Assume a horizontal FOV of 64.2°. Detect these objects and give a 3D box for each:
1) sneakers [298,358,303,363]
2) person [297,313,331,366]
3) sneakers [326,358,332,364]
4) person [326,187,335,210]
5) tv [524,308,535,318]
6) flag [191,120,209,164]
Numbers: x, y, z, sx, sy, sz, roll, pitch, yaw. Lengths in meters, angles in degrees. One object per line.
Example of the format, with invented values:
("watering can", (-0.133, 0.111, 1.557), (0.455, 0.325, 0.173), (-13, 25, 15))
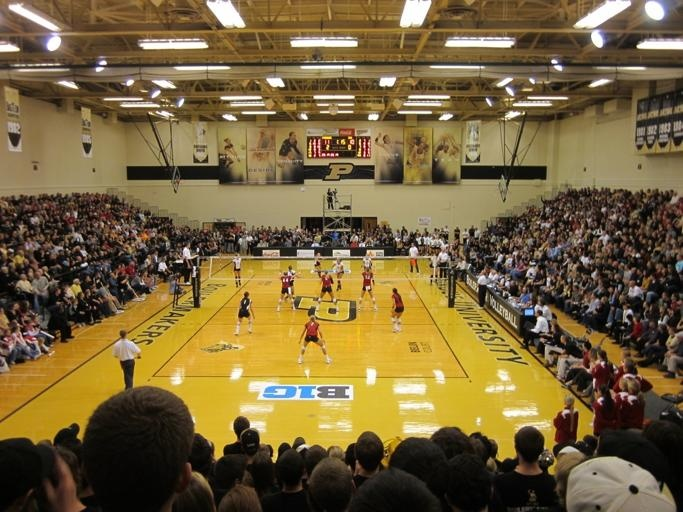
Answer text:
("sneakers", (-1.329, 3.363, 17.700), (0.131, 0.162, 0.142), (0, 14, -5))
("person", (-0.952, 2.949, 19.021), (1.328, 0.638, 2.403), (6, -37, 1))
("sneakers", (-0.406, 3.350, 17.774), (0.180, 0.171, 0.376), (-1, 9, -3))
("person", (-0.849, -4.566, 43.428), (0.704, 1.695, 0.230), (-3, 9, -17))
("tv", (6.945, 2.065, 20.136), (0.443, 0.346, 0.244), (-1, -8, 3))
("flag", (-10.857, -8.665, 41.866), (1.255, 3.026, 3.420), (-2, 9, -14))
